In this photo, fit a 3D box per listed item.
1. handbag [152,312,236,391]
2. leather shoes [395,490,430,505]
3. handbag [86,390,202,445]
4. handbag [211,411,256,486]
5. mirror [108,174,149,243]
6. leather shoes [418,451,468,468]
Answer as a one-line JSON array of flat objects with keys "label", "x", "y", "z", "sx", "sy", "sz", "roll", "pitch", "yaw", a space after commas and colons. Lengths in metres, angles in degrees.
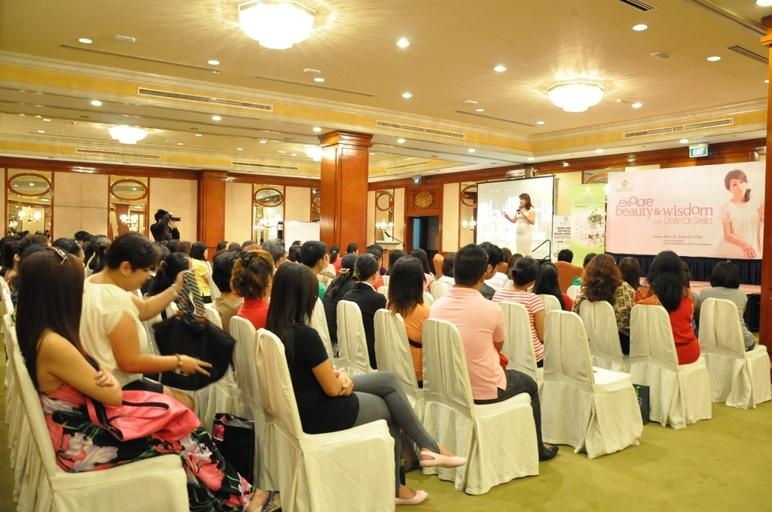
[{"label": "handbag", "x": -1.409, "y": 0.775, "z": 3.774, "sx": 0.593, "sy": 0.613, "sz": 0.278, "roll": 11, "pitch": -29, "yaw": -41}, {"label": "leather shoes", "x": 0.186, "y": 1.752, "z": 3.754, "sx": 0.183, "sy": 0.046, "sz": 0.098, "roll": -2, "pitch": 0, "yaw": -3}, {"label": "handbag", "x": -1.470, "y": 0.982, "z": 3.161, "sx": 0.407, "sy": 0.167, "sz": 0.361, "roll": 1, "pitch": 14, "yaw": -42}, {"label": "handbag", "x": -1.131, "y": 1.415, "z": 3.840, "sx": 0.313, "sy": 0.452, "sz": 0.157, "roll": 6, "pitch": 17, "yaw": 10}, {"label": "mirror", "x": -7.496, "y": -1.254, "z": 15.085, "sx": 1.015, "sy": 2.072, "sz": 0.123, "roll": 2, "pitch": 13, "yaw": -29}, {"label": "leather shoes", "x": 0.391, "y": 1.426, "z": 3.691, "sx": 0.354, "sy": 0.147, "sz": 0.133, "roll": 1, "pitch": -9, "yaw": -7}]
